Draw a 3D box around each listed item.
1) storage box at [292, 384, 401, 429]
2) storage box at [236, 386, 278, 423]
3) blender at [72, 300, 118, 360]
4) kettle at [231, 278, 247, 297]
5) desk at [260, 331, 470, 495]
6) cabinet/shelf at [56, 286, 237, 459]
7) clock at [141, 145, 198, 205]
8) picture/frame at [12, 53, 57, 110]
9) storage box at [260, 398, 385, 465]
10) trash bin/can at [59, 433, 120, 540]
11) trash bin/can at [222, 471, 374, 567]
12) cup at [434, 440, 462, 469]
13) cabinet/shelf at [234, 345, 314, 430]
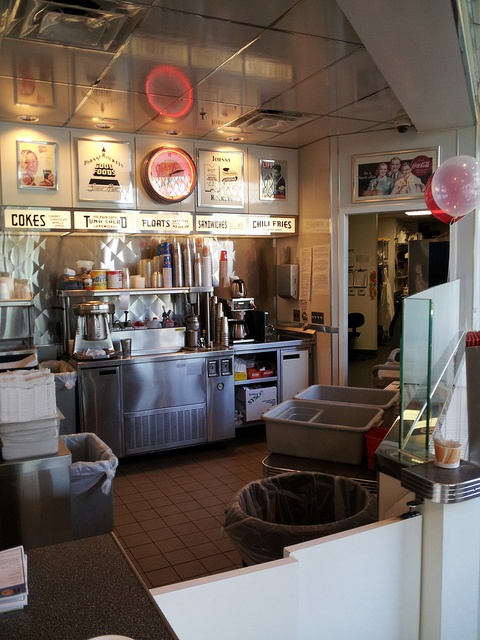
[{"bbox_3d":[0.821,0.596,3.680,0.445,0.144,0.306,0,7,24],"label":"storage box"},{"bbox_3d":[0.161,0.824,5.495,0.462,0.359,0.472,-4,9,-23],"label":"storage box"},{"bbox_3d":[-1.338,0.084,4.643,0.450,0.501,0.356,5,7,44],"label":"blender"},{"bbox_3d":[-0.021,-0.345,5.408,0.198,0.213,0.158,1,1,-22],"label":"kettle"},{"bbox_3d":[0.627,0.355,3.131,0.877,0.368,1.255,0,17,22],"label":"desk"},{"bbox_3d":[-0.931,0.485,5.135,1.546,1.626,0.999,-3,1,-22],"label":"cabinet/shelf"},{"bbox_3d":[-0.682,-1.443,5.052,0.532,0.527,0.086,3,22,9],"label":"clock"},{"bbox_3d":[-1.450,-1.674,3.556,0.029,0.332,0.301,30,34,32],"label":"picture/frame"},{"bbox_3d":[0.443,0.651,2.947,0.502,0.178,0.405,0,5,22],"label":"storage box"},{"bbox_3d":[-0.887,0.893,2.843,0.286,0.382,0.388,1,15,-37],"label":"trash bin/can"},{"bbox_3d":[0.250,0.842,2.186,0.531,0.408,0.545,0,6,0],"label":"trash bin/can"},{"bbox_3d":[0.594,0.376,1.464,0.074,0.075,0.078,0,0,0],"label":"cup"},{"bbox_3d":[0.357,0.649,5.619,0.941,0.868,0.401,-4,9,-14],"label":"cabinet/shelf"}]
